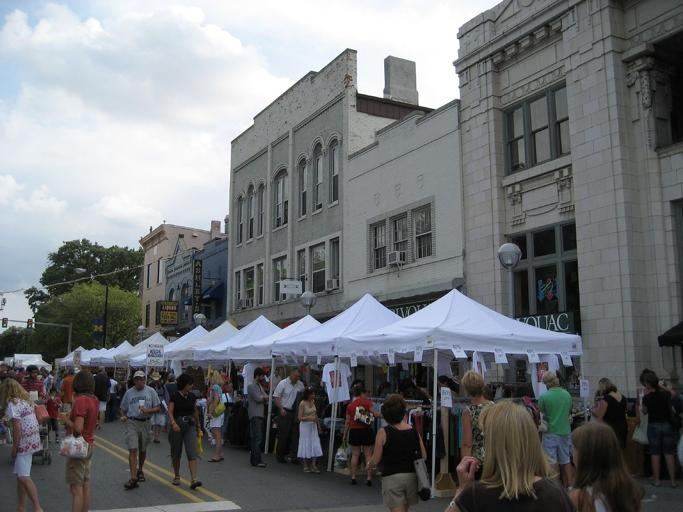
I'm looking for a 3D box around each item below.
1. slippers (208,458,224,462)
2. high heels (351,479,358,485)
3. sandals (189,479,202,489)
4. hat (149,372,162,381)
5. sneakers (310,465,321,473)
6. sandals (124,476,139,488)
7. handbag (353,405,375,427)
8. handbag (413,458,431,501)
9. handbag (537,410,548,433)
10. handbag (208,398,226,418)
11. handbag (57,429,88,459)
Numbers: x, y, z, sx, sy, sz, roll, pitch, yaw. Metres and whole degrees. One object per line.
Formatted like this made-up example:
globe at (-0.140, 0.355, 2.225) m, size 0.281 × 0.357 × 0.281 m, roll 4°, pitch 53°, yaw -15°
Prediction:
slippers at (-3.108, 5.102, 17.206) m, size 0.337 × 0.113 × 0.127 m, roll 11°, pitch -19°, yaw -13°
high heels at (0.273, 4.790, 14.644) m, size 0.099 × 0.110 × 0.069 m, roll 1°, pitch -6°, yaw 5°
sandals at (-2.868, 4.540, 13.728) m, size 0.106 × 0.139 × 0.303 m, roll 7°, pitch -28°, yaw -25°
hat at (-5.181, 3.361, 19.319) m, size 0.326 × 0.186 × 0.389 m, roll 7°, pitch -7°, yaw -43°
sneakers at (-0.608, 4.942, 15.999) m, size 0.101 × 0.143 × 0.290 m, roll 7°, pitch -18°, yaw -21°
sandals at (-4.188, 4.577, 13.877) m, size 0.129 × 0.170 × 0.379 m, roll -4°, pitch -24°, yaw 3°
handbag at (0.438, 3.216, 13.918) m, size 0.204 × 0.356 × 0.502 m, roll -29°, pitch -35°, yaw 18°
handbag at (1.184, 3.247, 10.054) m, size 0.199 × 0.590 × 0.438 m, roll -3°, pitch -14°, yaw 13°
handbag at (3.713, 3.079, 12.778) m, size 0.107 × 0.357 × 0.272 m, roll 1°, pitch -13°, yaw -3°
handbag at (-3.193, 3.974, 18.054) m, size 0.324 × 0.656 × 0.401 m, roll 12°, pitch -4°, yaw 26°
handbag at (-4.367, 3.141, 11.401) m, size 0.431 × 0.380 × 0.225 m, roll 5°, pitch -14°, yaw -19°
